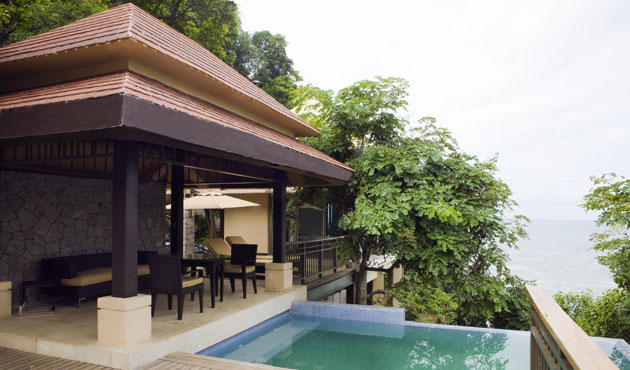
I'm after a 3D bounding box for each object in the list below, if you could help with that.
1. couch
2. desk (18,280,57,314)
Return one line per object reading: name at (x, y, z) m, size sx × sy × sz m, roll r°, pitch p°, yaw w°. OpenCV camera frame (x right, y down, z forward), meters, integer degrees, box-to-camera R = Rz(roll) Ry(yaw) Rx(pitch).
couch at (-7.156, 2.655, 13.762) m, size 3.075 × 1.064 × 1.127 m, roll 22°, pitch 2°, yaw 5°
desk at (-8.160, 3.176, 12.631) m, size 1.011 × 0.613 × 0.617 m, roll -5°, pitch -2°, yaw -19°
